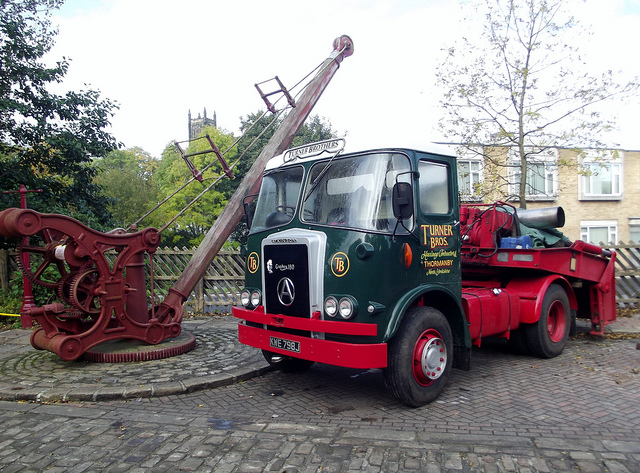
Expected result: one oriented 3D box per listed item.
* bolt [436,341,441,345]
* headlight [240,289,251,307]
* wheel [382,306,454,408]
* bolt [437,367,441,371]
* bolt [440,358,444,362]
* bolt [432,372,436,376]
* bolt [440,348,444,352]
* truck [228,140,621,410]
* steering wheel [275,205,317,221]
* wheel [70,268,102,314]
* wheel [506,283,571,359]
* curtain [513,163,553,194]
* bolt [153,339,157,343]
[{"bbox_3d":[1.597,1.471,6.150,0.035,0.028,0.038,3,5,37],"label":"bolt"},{"bbox_3d":[-1.113,0.930,6.780,0.196,0.258,0.061,3,5,44],"label":"headlight"},{"bbox_3d":[1.252,1.606,5.949,0.542,1.493,1.319,-2,0,44],"label":"wheel"},{"bbox_3d":[1.610,1.824,6.158,0.039,0.050,0.041,5,3,22],"label":"bolt"},{"bbox_3d":[1.667,1.708,6.204,0.038,0.040,0.039,17,-8,11],"label":"bolt"},{"bbox_3d":[1.526,1.871,6.094,0.035,0.045,0.037,5,10,29],"label":"bolt"},{"bbox_3d":[1.656,1.568,6.196,0.046,0.033,0.059,0,4,14],"label":"bolt"},{"bbox_3d":[2.274,0.537,7.804,6.291,2.891,3.530,2,-4,-43],"label":"truck"},{"bbox_3d":[-0.401,-0.352,6.449,0.328,0.084,0.329,20,-4,1],"label":"steering wheel"},{"bbox_3d":[-3.914,0.915,7.569,0.184,0.719,0.699,-3,4,37],"label":"wheel"},{"bbox_3d":[4.111,1.544,8.386,1.359,1.408,0.520,-15,10,-37],"label":"wheel"},{"bbox_3d":[12.179,-3.273,25.710,2.511,1.900,0.141,0,-6,2],"label":"curtain"},{"bbox_3d":[-2.971,1.895,8.148,0.070,0.044,0.073,1,0,26],"label":"bolt"}]
